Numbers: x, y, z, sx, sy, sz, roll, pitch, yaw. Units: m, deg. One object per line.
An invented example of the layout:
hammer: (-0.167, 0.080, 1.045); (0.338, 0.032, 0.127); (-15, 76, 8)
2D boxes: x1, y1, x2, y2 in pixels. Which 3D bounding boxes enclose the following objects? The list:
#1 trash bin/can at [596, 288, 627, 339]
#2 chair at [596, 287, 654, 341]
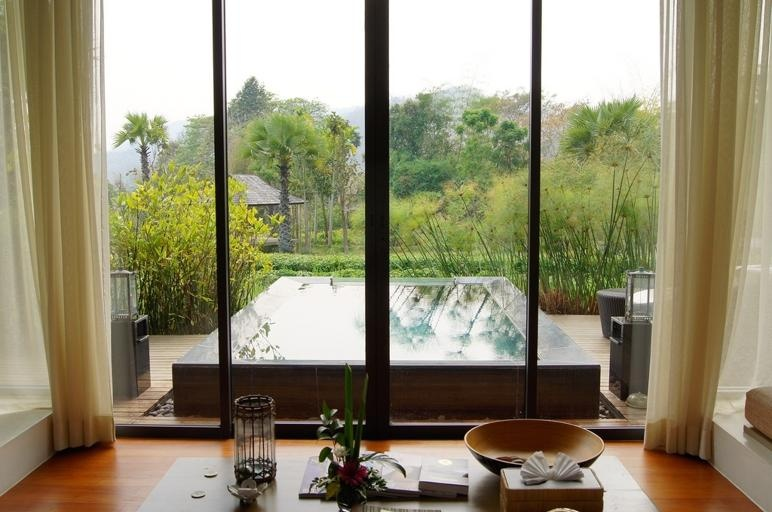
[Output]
trash bin/can: (1.670, 0.398, 4.110); (0.298, 0.343, 0.302); (-1, 3, 27)
chair: (1.622, 0.394, 3.963); (0.300, 0.321, 0.293); (0, 3, 23)
